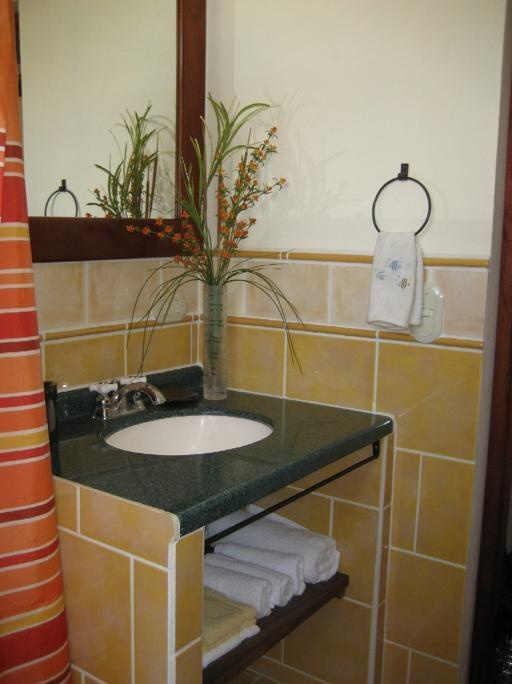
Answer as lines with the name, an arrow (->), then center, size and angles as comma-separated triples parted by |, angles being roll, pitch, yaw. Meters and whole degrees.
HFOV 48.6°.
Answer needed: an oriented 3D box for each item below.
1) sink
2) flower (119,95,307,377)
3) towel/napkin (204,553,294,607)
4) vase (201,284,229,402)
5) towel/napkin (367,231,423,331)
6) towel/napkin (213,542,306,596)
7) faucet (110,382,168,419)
sink -> -0.154, 0.221, 1.278 | 0.354, 0.101, 0.151 | -3, 10, -18
flower -> -0.180, -0.272, 1.747 | 0.589, 0.828, 0.604 | 2, 2, 34
towel/napkin -> -0.030, 0.481, 1.149 | 0.121, 0.046, 0.095 | 11, 11, 36
vase -> -0.103, 0.004, 1.413 | 0.056, 0.293, 0.043 | -1, 9, -6
towel/napkin -> 0.294, -0.129, 1.220 | 0.127, 0.202, 0.062 | 6, 6, 33
towel/napkin -> 0.009, 0.462, 1.230 | 0.131, 0.054, 0.102 | 10, 7, 30
faucet -> -0.262, 0.125, 1.266 | 0.051, 0.102, 0.178 | -4, -8, 37
